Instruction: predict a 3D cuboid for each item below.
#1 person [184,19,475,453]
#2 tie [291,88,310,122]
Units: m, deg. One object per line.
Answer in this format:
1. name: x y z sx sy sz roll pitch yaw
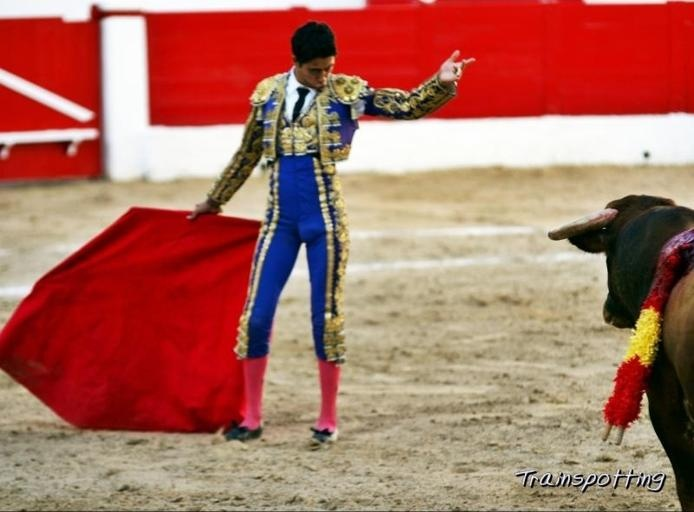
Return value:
1. person: -0.185 -0.102 6.347 1.189 2.053 0.333 3 6 1
2. tie: -0.222 -0.740 6.264 0.071 0.162 0.046 14 8 8
